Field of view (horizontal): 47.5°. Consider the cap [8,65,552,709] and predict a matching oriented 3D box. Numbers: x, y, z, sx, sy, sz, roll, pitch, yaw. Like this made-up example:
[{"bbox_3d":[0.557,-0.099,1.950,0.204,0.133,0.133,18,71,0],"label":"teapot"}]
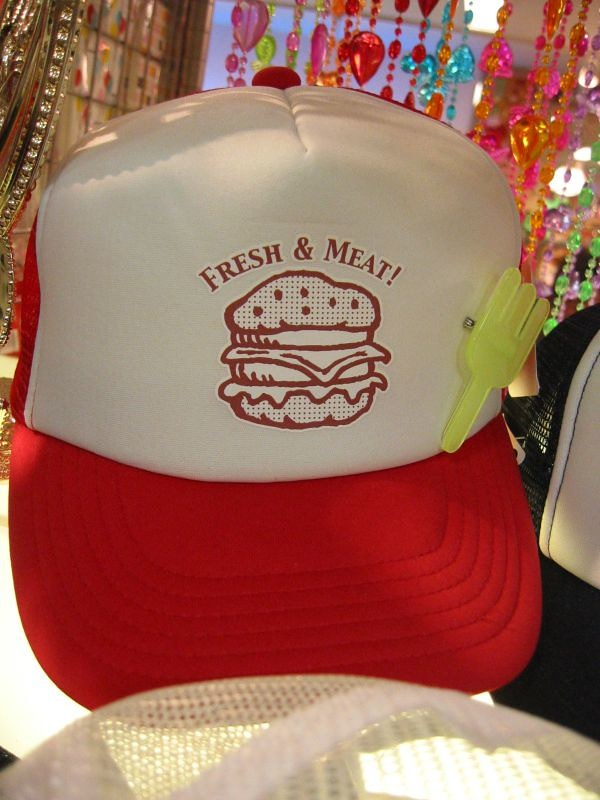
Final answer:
[{"bbox_3d":[-0.040,-0.023,0.738,0.504,0.299,0.588,0,48,-9],"label":"cap"}]
